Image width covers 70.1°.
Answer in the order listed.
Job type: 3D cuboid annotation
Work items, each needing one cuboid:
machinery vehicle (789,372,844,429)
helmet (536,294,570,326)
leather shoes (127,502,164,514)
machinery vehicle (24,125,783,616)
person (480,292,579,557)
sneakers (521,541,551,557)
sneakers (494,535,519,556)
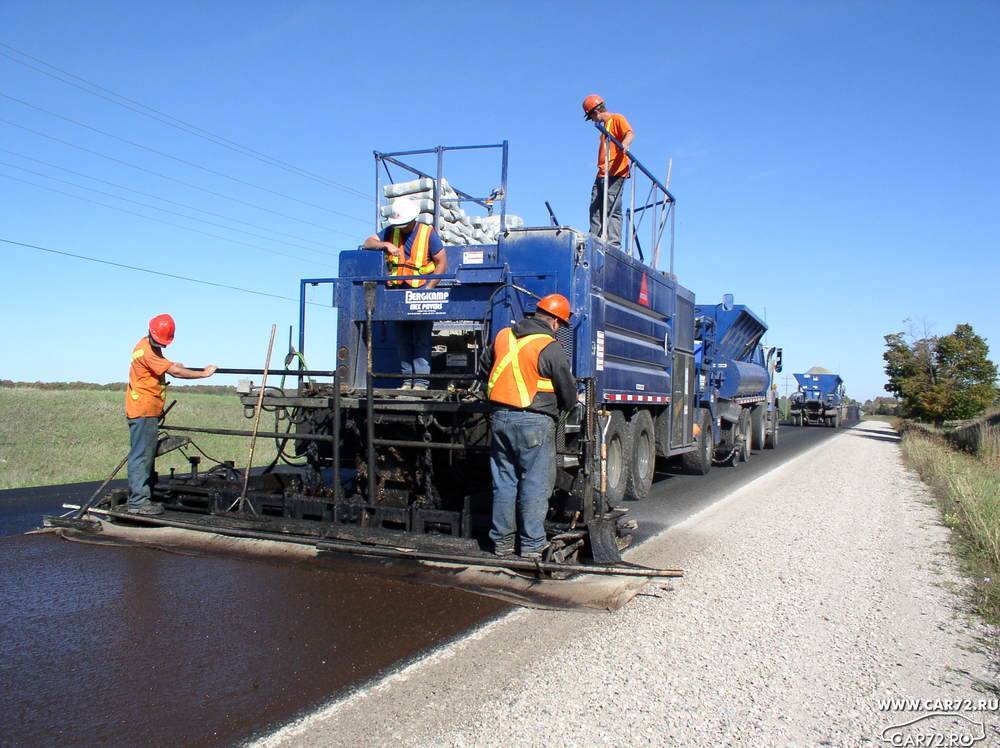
[{"bbox_3d":[20.713,1.730,46.459,2.899,3.056,5.399,0,1,20],"label":"machinery vehicle"},{"bbox_3d":[0.572,-0.624,7.225,0.245,0.190,0.307,26,6,41],"label":"helmet"},{"bbox_3d":[-4.148,1.565,8.277,0.337,0.188,0.175,-4,-5,5],"label":"leather shoes"},{"bbox_3d":[0.619,0.197,11.424,5.605,4.249,9.625,1,1,24],"label":"machinery vehicle"},{"bbox_3d":[0.279,0.531,6.955,0.809,2.503,0.553,1,3,-1],"label":"person"},{"bbox_3d":[0.324,1.688,6.852,0.285,0.121,0.231,2,2,4],"label":"sneakers"},{"bbox_3d":[0.054,1.675,6.993,0.176,0.213,0.155,-2,-4,25],"label":"sneakers"}]
